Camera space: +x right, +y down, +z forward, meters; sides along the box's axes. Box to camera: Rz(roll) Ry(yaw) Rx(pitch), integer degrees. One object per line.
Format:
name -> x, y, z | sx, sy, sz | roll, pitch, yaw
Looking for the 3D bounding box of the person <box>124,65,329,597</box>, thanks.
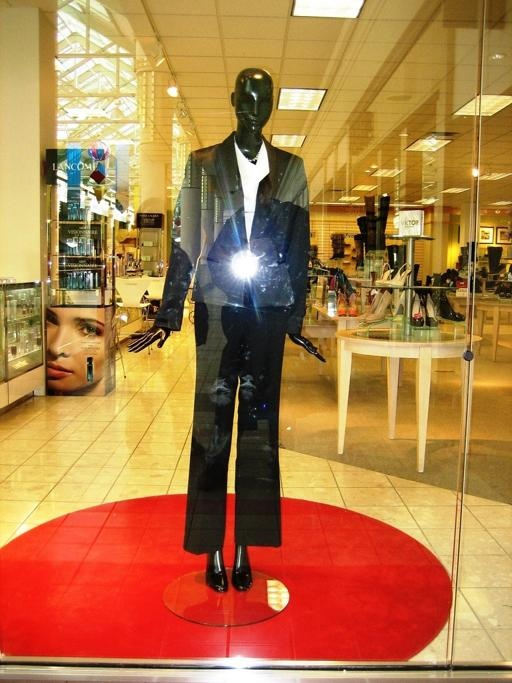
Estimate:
person -> -0.091, 0.003, 1.433 | 0.478, 1.446, 0.161 | 3, 11, 9
